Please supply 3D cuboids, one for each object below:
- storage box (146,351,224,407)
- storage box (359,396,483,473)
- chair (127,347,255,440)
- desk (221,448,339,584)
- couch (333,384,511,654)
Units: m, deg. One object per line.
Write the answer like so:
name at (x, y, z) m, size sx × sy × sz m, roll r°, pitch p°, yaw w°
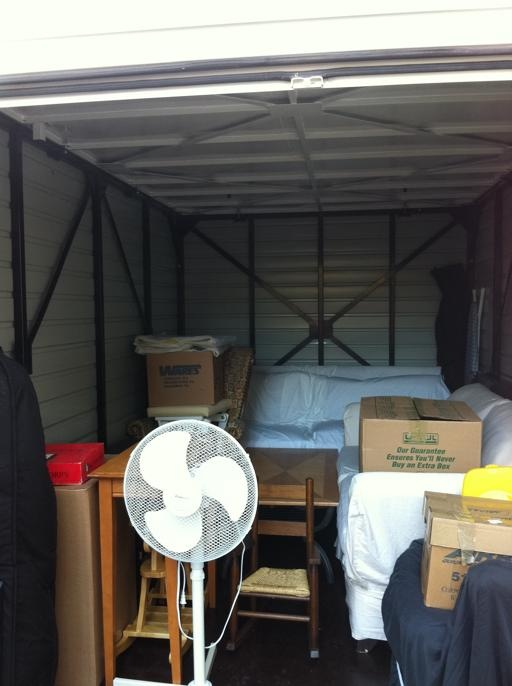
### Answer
storage box at (-0.518, 0.269, 4.073) m, size 0.410 × 0.317 × 0.429 m, roll -1°, pitch 0°, yaw 5°
storage box at (0.775, 0.446, 2.786) m, size 0.386 × 0.253 × 0.384 m, roll 0°, pitch 2°, yaw 6°
chair at (-0.546, 0.372, 4.388) m, size 0.541 × 0.903 × 0.831 m, roll -2°, pitch -12°, yaw 14°
desk at (0.142, 0.938, 3.312) m, size 0.646 × 0.397 × 0.809 m, roll -1°, pitch -2°, yaw 4°
couch at (0.828, 0.753, 2.932) m, size 0.903 × 1.069 × 1.487 m, roll 1°, pitch 0°, yaw 12°
